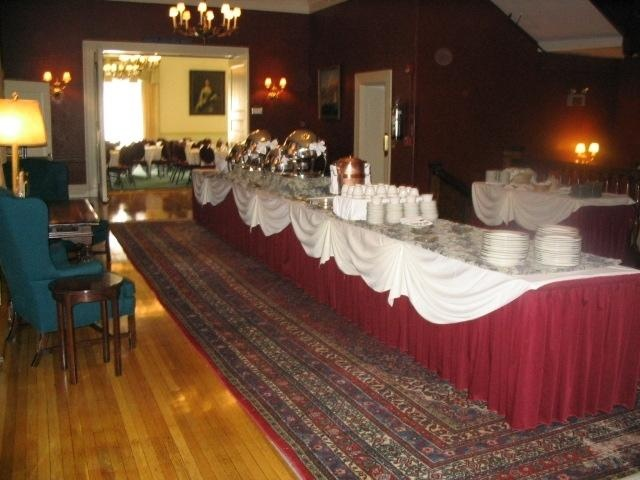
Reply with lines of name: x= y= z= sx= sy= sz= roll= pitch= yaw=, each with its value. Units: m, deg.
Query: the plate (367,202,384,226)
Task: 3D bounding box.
plate: x=0.474 y=-0.232 z=4.292 sx=0.152 sy=0.175 sz=0.162 roll=-1 pitch=6 yaw=-5

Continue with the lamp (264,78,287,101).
lamp: x=-1.084 y=-3.652 z=11.856 sx=0.493 sy=0.497 sz=0.203 roll=-3 pitch=9 yaw=-21

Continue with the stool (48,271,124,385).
stool: x=-1.652 y=0.615 z=3.528 sx=0.441 sy=0.667 sz=0.467 roll=4 pitch=8 yaw=25

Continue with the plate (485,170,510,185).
plate: x=2.495 y=-0.896 z=6.920 sx=0.155 sy=0.222 sz=0.290 roll=-3 pitch=17 yaw=-12

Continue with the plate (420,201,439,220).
plate: x=0.946 y=-0.268 z=4.307 sx=0.145 sy=0.149 sz=0.152 roll=0 pitch=11 yaw=-1

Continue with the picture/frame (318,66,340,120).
picture/frame: x=0.219 y=-3.369 z=11.203 sx=0.057 sy=1.163 sz=1.019 roll=10 pitch=20 yaw=30

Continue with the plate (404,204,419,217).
plate: x=0.792 y=-0.263 z=4.328 sx=0.105 sy=0.120 sz=0.109 roll=-8 pitch=11 yaw=-40

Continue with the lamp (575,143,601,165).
lamp: x=5.590 y=-1.837 z=10.356 sx=0.292 sy=0.428 sz=0.730 roll=13 pitch=19 yaw=43

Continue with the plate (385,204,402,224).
plate: x=0.628 y=-0.238 z=4.292 sx=0.144 sy=0.164 sz=0.148 roll=9 pitch=19 yaw=33

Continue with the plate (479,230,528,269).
plate: x=1.128 y=0.052 z=3.011 sx=0.224 sy=0.150 sz=0.236 roll=1 pitch=14 yaw=3

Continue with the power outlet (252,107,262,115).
power outlet: x=-1.513 y=-3.105 z=11.811 sx=0.257 sy=0.194 sz=0.060 roll=-2 pitch=-1 yaw=-13

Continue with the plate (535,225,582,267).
plate: x=1.481 y=0.024 z=3.117 sx=0.231 sy=0.124 sz=0.306 roll=1 pitch=18 yaw=9

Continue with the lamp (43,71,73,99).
lamp: x=-5.486 y=-3.258 z=10.283 sx=0.669 sy=0.728 sz=0.279 roll=-7 pitch=14 yaw=-37

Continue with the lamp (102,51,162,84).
lamp: x=-6.062 y=-5.596 z=16.061 sx=1.783 sy=0.650 sz=2.583 roll=-6 pitch=16 yaw=-22

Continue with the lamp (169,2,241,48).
lamp: x=-2.429 y=-4.476 z=10.187 sx=1.138 sy=0.821 sz=1.180 roll=-7 pitch=34 yaw=-22
